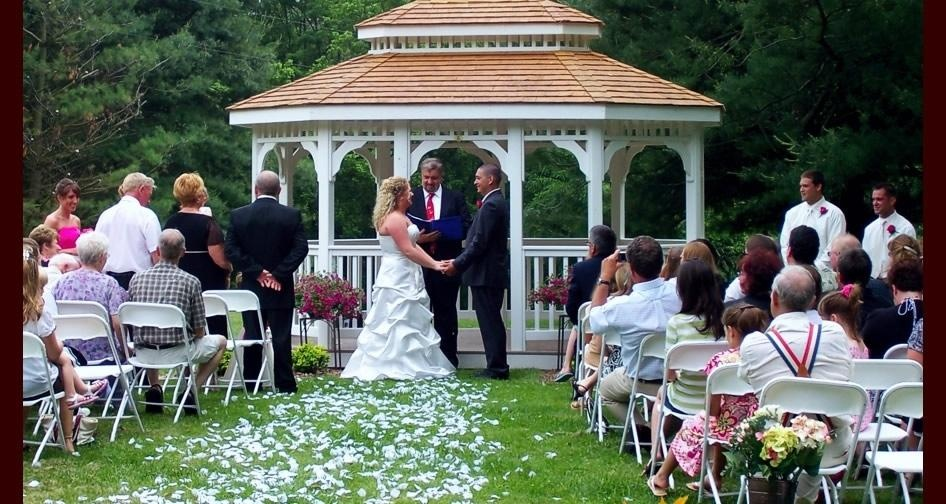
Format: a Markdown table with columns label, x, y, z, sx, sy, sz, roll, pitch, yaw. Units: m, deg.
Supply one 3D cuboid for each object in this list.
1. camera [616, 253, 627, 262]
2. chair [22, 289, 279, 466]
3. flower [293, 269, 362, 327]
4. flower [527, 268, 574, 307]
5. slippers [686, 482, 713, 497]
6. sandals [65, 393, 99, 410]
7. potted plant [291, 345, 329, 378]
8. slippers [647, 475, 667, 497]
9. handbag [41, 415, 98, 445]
| label | x | y | z | sx | sy | sz | roll | pitch | yaw |
| --- | --- | --- | --- | --- | --- | --- | --- | --- | --- |
| camera | 2.858 | 0.107 | 27.629 | 0.157 | 0.149 | 0.281 | -6 | -4 | 10 |
| chair | -6.471 | 2.151 | 26.436 | 3.468 | 2.632 | 1.471 | -2 | 2 | -20 |
| flower | -3.048 | 1.032 | 30.026 | 1.174 | 0.736 | 1.077 | 4 | -1 | 1 |
| flower | 1.628 | 0.749 | 30.011 | 0.863 | 0.441 | 0.821 | -6 | 9 | -3 |
| slippers | 3.928 | 4.171 | 24.761 | 0.436 | 0.114 | 0.173 | 7 | 1 | 41 |
| sandals | -7.074 | 2.732 | 25.792 | 0.543 | 0.215 | 0.210 | -15 | 2 | -7 |
| potted plant | -3.440 | 2.303 | 29.858 | 0.686 | 0.530 | 0.620 | 2 | -7 | -16 |
| slippers | 3.202 | 4.132 | 24.858 | 0.371 | 0.332 | 0.235 | -1 | 2 | 14 |
| handbag | -7.369 | 3.273 | 25.990 | 0.848 | 0.306 | 0.539 | 0 | 1 | 11 |
